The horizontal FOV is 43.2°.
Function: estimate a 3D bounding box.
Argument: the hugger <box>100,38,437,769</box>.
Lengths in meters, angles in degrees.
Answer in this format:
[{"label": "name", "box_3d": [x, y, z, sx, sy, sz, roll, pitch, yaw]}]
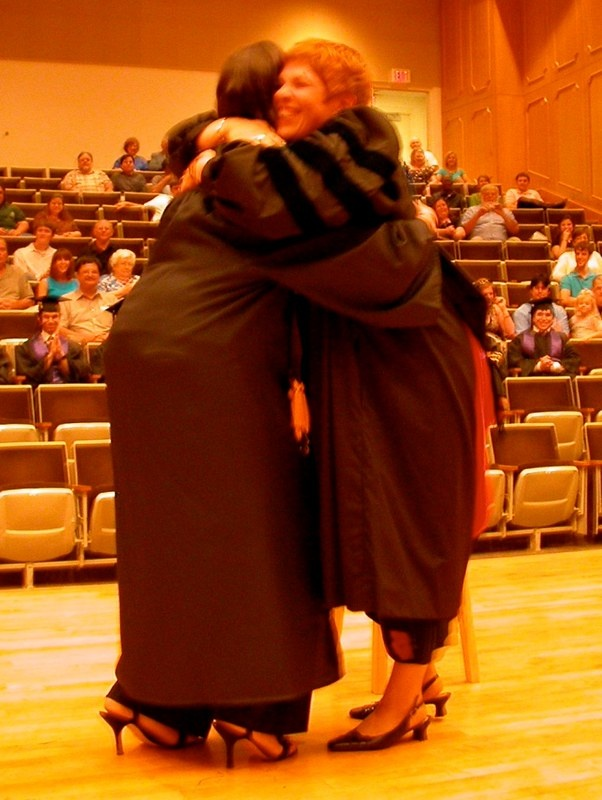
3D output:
[{"label": "hugger", "box_3d": [-0.049, 0.016, 1.266, 0.578, 1.022, 0.407, 3, -6, -37]}]

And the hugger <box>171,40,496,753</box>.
[{"label": "hugger", "box_3d": [0.066, -0.004, 1.201, 0.538, 1.079, 0.427, -1, 0, 0]}]

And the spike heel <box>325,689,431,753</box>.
[{"label": "spike heel", "box_3d": [0.117, 0.526, 1.276, 0.187, 0.068, 0.133, -5, 12, -11]}]
